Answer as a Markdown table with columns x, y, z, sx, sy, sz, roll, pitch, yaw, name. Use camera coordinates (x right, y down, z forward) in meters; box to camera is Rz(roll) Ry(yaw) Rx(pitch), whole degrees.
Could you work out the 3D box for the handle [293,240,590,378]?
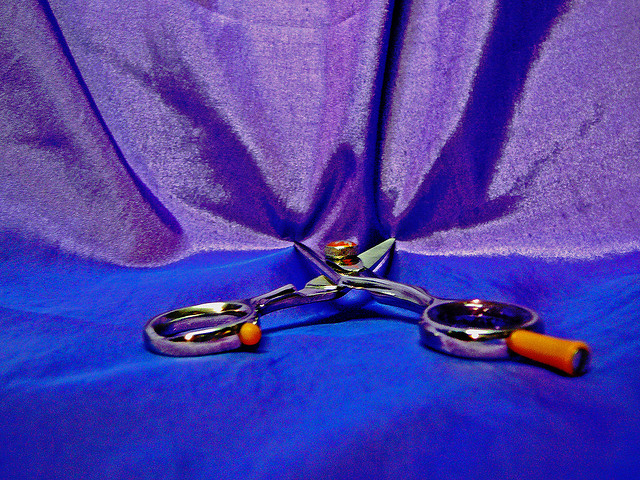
| x | y | z | sx | sy | sz | roll | pitch | yaw | name |
| --- | --- | --- | --- | --- | --- | --- | --- | --- | --- |
| 0.147 | 0.093 | 0.821 | 0.338 | 0.030 | 0.097 | 8 | 8 | 44 | handle |
